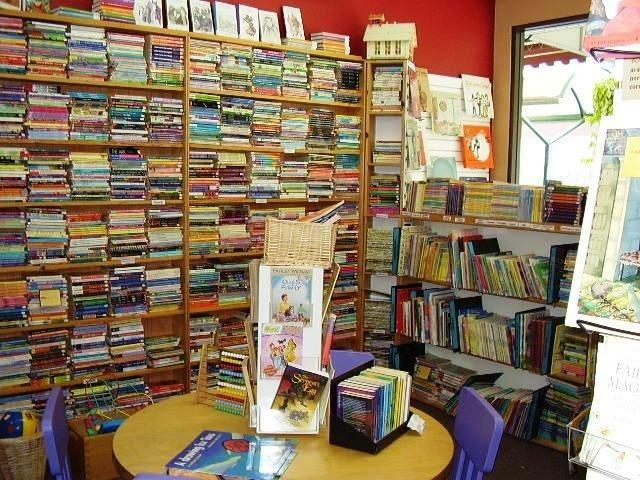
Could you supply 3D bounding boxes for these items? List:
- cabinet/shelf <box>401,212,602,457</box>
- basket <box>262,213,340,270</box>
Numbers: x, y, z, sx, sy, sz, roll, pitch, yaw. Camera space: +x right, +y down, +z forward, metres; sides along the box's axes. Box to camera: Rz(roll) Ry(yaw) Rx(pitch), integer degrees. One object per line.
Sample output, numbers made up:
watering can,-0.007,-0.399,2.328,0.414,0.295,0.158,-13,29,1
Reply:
cabinet/shelf,1.393,0.688,3.652,0.642,1.561,1.735,-6,14,-40
basket,-0.095,0.018,2.270,0.376,0.236,0.227,2,1,-9
